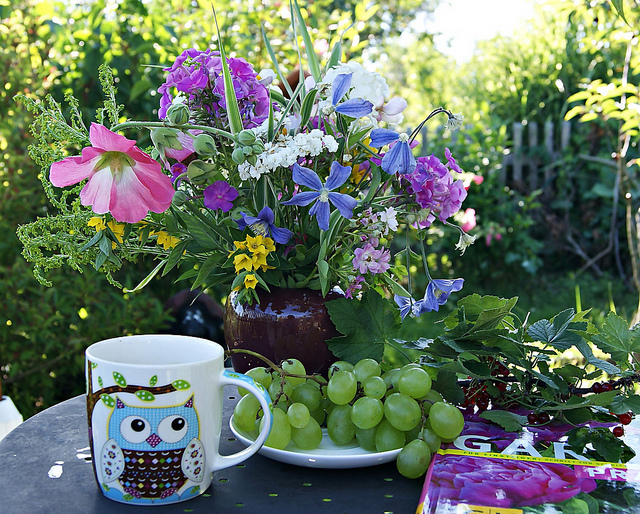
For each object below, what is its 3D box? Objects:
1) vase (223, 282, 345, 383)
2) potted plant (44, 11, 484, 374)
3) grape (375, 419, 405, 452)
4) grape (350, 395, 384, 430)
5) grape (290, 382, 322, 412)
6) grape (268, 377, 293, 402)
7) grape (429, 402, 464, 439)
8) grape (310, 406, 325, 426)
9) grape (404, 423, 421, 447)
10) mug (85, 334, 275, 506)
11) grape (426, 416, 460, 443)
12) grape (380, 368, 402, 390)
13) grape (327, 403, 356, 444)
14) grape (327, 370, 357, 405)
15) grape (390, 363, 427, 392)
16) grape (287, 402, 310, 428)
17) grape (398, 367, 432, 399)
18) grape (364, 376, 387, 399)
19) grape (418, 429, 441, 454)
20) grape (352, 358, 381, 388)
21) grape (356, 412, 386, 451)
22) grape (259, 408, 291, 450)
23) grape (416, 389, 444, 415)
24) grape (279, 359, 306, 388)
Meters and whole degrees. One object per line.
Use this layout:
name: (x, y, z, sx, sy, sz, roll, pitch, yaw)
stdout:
vase: (-0.067, 0.121, 1.272, 0.169, 0.174, 0.181, 0, 5, 3)
potted plant: (-0.052, -0.104, 1.321, 0.559, 0.733, 0.633, 5, 21, 34)
grape: (0.107, 0.276, 1.068, 0.038, 0.058, 0.037, -10, 20, 15)
grape: (0.073, 0.239, 1.049, 0.044, 0.048, 0.057, 12, 29, 9)
grape: (-0.023, 0.225, 1.106, 0.044, 0.039, 0.037, 3, 2, 8)
grape: (-0.063, 0.211, 1.105, 0.033, 0.043, 0.035, 0, 2, 8)
grape: (0.203, 0.259, 1.075, 0.071, 0.058, 0.052, 6, -8, -41)
grape: (-0.002, 0.260, 1.121, 0.025, 0.034, 0.027, 1, 13, 9)
grape: (0.148, 0.280, 1.073, 0.022, 0.034, 0.024, 4, -18, 2)
mug: (-0.214, 0.239, 1.153, 0.316, 0.260, 0.264, 1, 1, 2)
grape: (0.194, 0.270, 1.079, 0.040, 0.029, 0.042, 3, -12, -1)
grape: (0.119, 0.200, 1.125, 0.020, 0.023, 0.041, -15, 7, 32)
grape: (0.035, 0.267, 1.082, 0.041, 0.064, 0.046, 1, -1, 4)
grape: (0.037, 0.213, 1.093, 0.049, 0.068, 0.053, -2, -10, 4)
grape: (0.145, 0.186, 1.108, 0.050, 0.029, 0.038, -34, 9, -21)
grape: (-0.034, 0.244, 1.050, 0.032, 0.042, 0.034, 2, 3, 3)
grape: (0.150, 0.199, 1.066, 0.051, 0.048, 0.046, 6, -10, 16)
grape: (0.088, 0.206, 1.077, 0.029, 0.033, 0.036, 1, -21, -3)
grape: (0.170, 0.284, 1.068, 0.032, 0.042, 0.034, -8, 9, 8)
grape: (0.074, 0.189, 1.108, 0.039, 0.051, 0.041, 2, -22, -7)
grape: (0.086, 0.269, 1.081, 0.050, 0.067, 0.051, 1, 6, 5)
grape: (-0.065, 0.273, 1.068, 0.046, 0.079, 0.044, -19, -21, 42)
grape: (0.182, 0.231, 1.083, 0.028, 0.023, 0.039, -2, -1, 1)
grape: (-0.042, 0.186, 1.121, 0.037, 0.050, 0.040, 0, 17, 4)
